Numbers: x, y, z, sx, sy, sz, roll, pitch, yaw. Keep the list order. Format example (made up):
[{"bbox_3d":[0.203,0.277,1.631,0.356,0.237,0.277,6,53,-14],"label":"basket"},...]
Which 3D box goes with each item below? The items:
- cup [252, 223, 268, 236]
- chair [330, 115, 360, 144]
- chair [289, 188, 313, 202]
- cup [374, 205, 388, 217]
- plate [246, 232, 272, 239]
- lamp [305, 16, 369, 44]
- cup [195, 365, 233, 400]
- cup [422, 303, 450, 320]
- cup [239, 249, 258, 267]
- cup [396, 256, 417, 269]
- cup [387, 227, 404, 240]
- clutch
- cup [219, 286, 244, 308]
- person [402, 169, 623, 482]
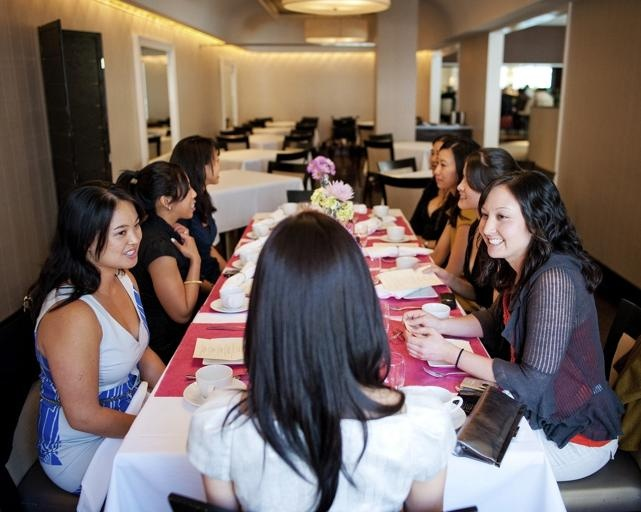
[{"bbox_3d":[-0.351,-0.158,2.796,0.062,0.055,0.070,-2,29,-2],"label":"cup"},{"bbox_3d":[0.610,-3.238,12.143,0.687,0.972,0.815,0,14,1],"label":"chair"},{"bbox_3d":[-0.172,-0.483,3.787,0.133,0.112,0.114,2,17,5],"label":"chair"},{"bbox_3d":[0.415,-0.326,3.300,0.076,0.057,0.086,-3,39,0],"label":"cup"},{"bbox_3d":[-0.375,-0.124,2.858,0.090,0.024,0.099,1,5,7],"label":"plate"},{"bbox_3d":[0.316,-4.242,8.846,1.210,0.427,0.800,-19,26,-41],"label":"lamp"},{"bbox_3d":[-0.287,0.317,1.308,0.089,0.093,0.123,3,21,3],"label":"cup"},{"bbox_3d":[0.421,0.195,1.732,0.064,0.049,0.066,-1,13,0],"label":"cup"},{"bbox_3d":[-0.335,0.006,2.273,0.074,0.070,0.093,-1,-3,-14],"label":"cup"},{"bbox_3d":[0.403,0.022,2.236,0.073,0.034,0.053,-9,12,-9],"label":"cup"},{"bbox_3d":[0.436,-0.135,2.770,0.073,0.056,0.078,-3,35,2],"label":"cup"},{"bbox_3d":[0.407,0.414,1.174,0.209,0.073,0.153,-34,11,-38],"label":"clutch"},{"bbox_3d":[-0.338,0.158,1.827,0.062,0.059,0.089,2,24,3],"label":"cup"},{"bbox_3d":[0.626,0.318,1.570,0.592,1.155,0.533,-4,7,7],"label":"person"}]
